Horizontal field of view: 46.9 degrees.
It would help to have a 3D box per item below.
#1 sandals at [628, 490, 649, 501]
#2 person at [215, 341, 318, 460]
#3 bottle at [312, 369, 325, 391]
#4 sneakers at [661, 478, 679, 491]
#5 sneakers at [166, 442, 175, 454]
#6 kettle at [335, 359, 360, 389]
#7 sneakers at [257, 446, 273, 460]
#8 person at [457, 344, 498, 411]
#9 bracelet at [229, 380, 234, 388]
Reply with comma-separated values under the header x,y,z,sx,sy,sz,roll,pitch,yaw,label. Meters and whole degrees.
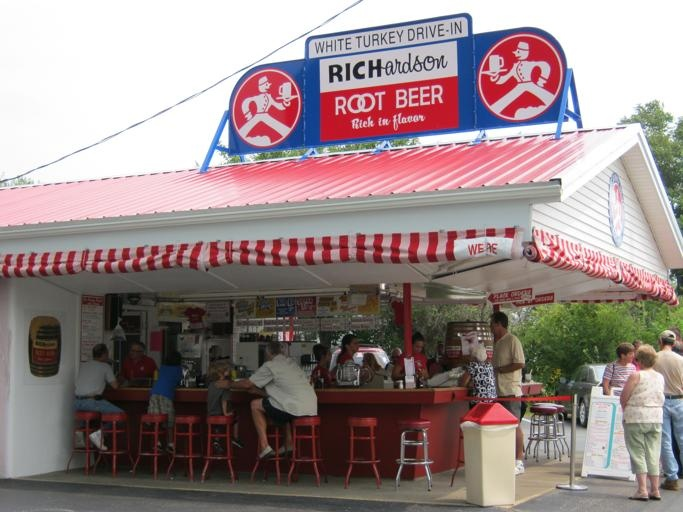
x,y,z,sx,sy,sz,roll,pitch,yaw,label
4.116,3.301,10.890,0.220,0.090,0.107,2,0,30,sandals
-1.051,2.265,12.454,1.330,1.796,0.713,-2,-13,5,person
-0.372,2.094,13.260,0.237,0.422,0.235,1,-11,0,bottle
4.811,3.331,11.469,0.284,0.192,0.112,3,3,39,sneakers
-2.847,3.218,13.189,0.116,0.139,0.335,2,-8,-16,sneakers
0.109,1.952,13.023,0.408,0.401,0.303,-2,-13,4,kettle
-1.151,3.048,12.222,0.248,0.174,0.187,0,-13,-6,sneakers
2.260,1.965,12.908,0.575,0.995,1.063,-3,-13,9,person
-1.721,2.012,12.457,0.086,0.077,0.077,-3,-6,34,bracelet
